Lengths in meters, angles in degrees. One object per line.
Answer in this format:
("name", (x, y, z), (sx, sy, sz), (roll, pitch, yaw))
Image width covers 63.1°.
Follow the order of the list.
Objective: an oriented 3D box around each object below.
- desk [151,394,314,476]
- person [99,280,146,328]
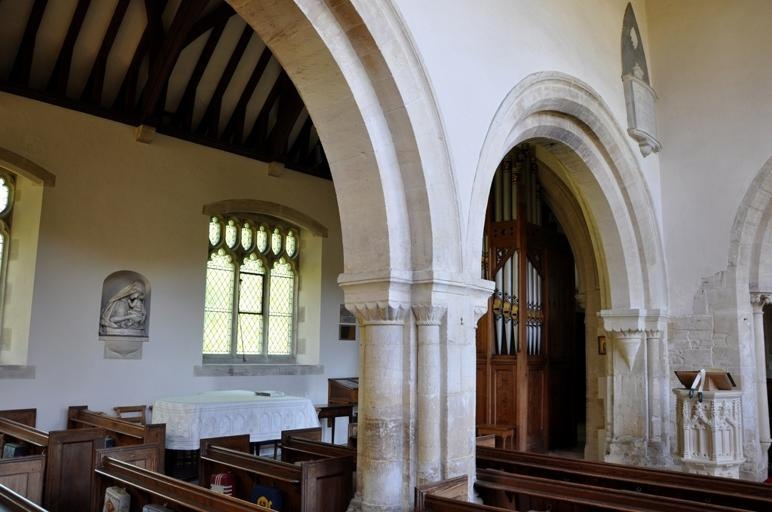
("desk", (-1.766, 2.437, 8.880), (1.153, 0.817, 1.710), (-6, -19, 18))
("person", (-4.060, 0.744, 9.624), (0.546, 0.831, 0.272), (14, -16, -42))
